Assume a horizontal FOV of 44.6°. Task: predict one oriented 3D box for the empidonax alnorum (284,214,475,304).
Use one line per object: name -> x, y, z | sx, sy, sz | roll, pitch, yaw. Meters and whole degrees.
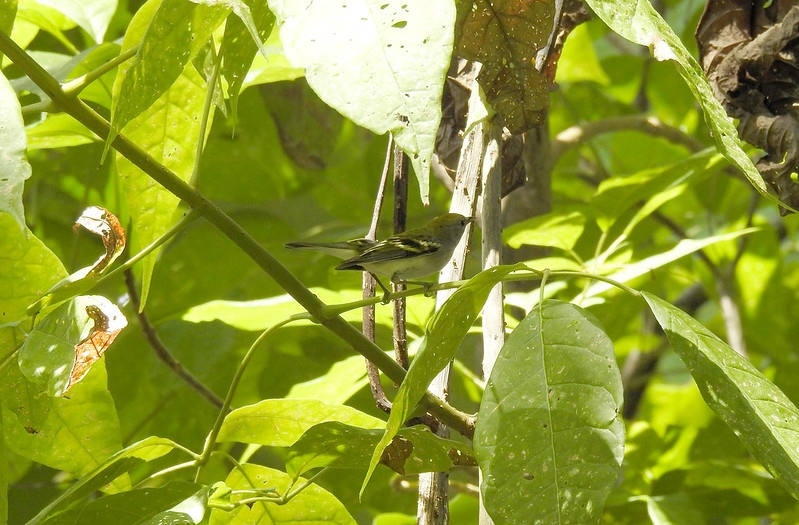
empidonax alnorum -> -0.056, -0.029, 4.095 | 0.802, 0.329, 0.229 | -2, -2, 0
